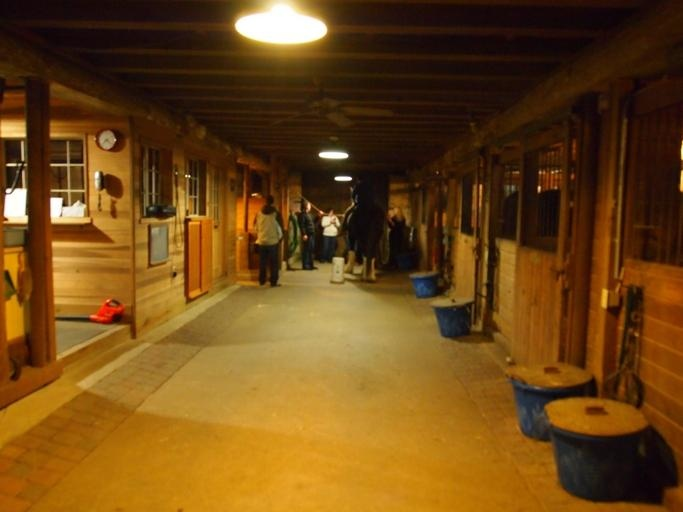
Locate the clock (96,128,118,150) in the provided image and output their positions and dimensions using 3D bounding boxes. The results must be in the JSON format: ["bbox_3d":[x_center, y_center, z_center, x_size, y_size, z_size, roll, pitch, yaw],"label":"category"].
[{"bbox_3d":[-2.976,-1.486,6.540,0.244,0.269,0.078,0,3,-1],"label":"clock"}]

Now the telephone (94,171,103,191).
[{"bbox_3d":[-3.090,-0.945,6.568,0.115,0.253,0.185,-4,12,-26],"label":"telephone"}]

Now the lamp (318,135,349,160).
[{"bbox_3d":[-0.167,-2.050,9.769,0.459,0.392,1.102,0,11,-3],"label":"lamp"}]

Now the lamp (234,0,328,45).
[{"bbox_3d":[-0.443,-1.695,3.793,0.626,0.198,0.486,-5,13,-27],"label":"lamp"}]
